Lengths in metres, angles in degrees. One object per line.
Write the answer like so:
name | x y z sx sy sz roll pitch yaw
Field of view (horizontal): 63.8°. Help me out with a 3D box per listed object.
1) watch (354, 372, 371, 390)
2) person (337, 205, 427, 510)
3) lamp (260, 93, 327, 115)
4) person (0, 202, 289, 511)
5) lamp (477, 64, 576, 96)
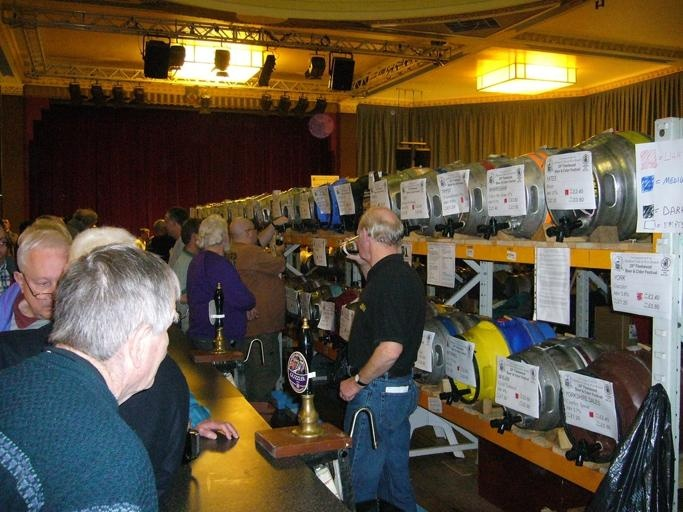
watch | 0.097 0.581 2.600 0.026 0.065 0.064 6 36 -52
person | 0.208 0.580 2.712 0.452 1.637 0.458 -4 5 0
lamp | -1.069 -3.390 12.191 1.446 0.556 1.332 -5 5 -6
person | -0.702 0.280 1.724 0.795 0.744 0.595 -1 6 32
lamp | 3.542 -3.524 11.122 1.552 0.434 1.797 -6 5 -14
